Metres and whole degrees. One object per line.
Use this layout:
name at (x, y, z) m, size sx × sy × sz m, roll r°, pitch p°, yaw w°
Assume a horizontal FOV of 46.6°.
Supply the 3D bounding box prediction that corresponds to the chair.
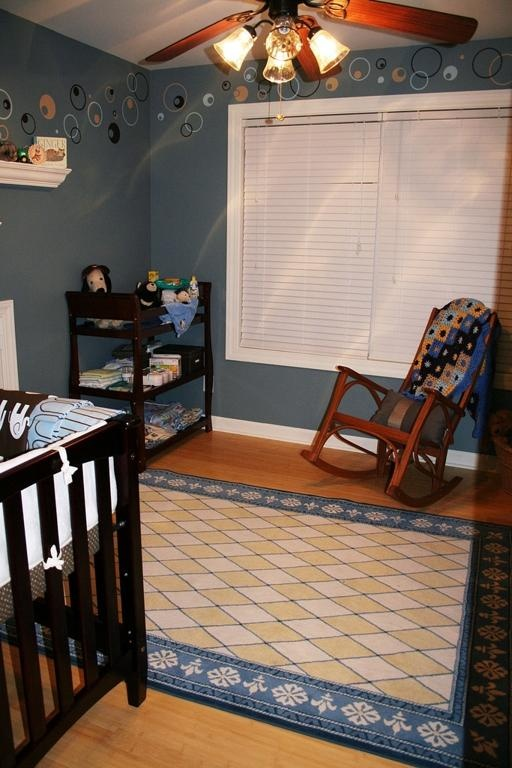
chair at (0.817, 0.079, 3.084) m, size 0.914 × 1.051 × 0.646 m, roll 7°, pitch 7°, yaw -28°

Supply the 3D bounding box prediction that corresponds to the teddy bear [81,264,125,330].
teddy bear at (-0.880, -0.509, 3.463) m, size 0.232 × 0.348 × 0.338 m, roll -2°, pitch 12°, yaw -16°

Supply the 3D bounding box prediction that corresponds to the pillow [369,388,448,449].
pillow at (0.789, 0.168, 3.025) m, size 0.386 × 0.237 × 0.116 m, roll 13°, pitch -18°, yaw 49°
